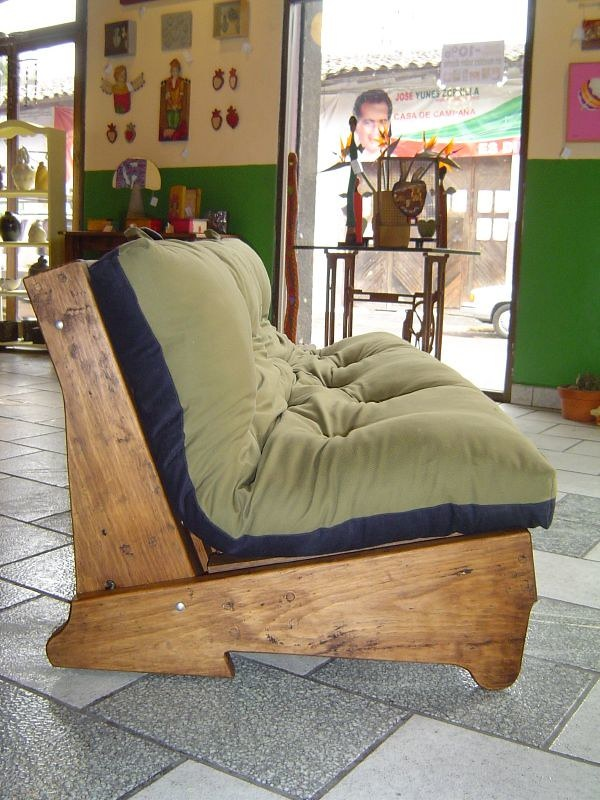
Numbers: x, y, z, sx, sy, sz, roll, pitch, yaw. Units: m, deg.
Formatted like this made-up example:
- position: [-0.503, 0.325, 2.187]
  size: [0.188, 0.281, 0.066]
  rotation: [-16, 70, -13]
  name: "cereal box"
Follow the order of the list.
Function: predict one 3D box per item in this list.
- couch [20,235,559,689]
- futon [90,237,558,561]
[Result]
- position: [0.007, -0.007, 1.638]
  size: [0.883, 0.662, 1.229]
  rotation: [5, 15, 2]
  name: "couch"
- position: [0.064, -0.108, 1.567]
  size: [0.838, 0.504, 1.099]
  rotation: [2, 17, 4]
  name: "futon"
